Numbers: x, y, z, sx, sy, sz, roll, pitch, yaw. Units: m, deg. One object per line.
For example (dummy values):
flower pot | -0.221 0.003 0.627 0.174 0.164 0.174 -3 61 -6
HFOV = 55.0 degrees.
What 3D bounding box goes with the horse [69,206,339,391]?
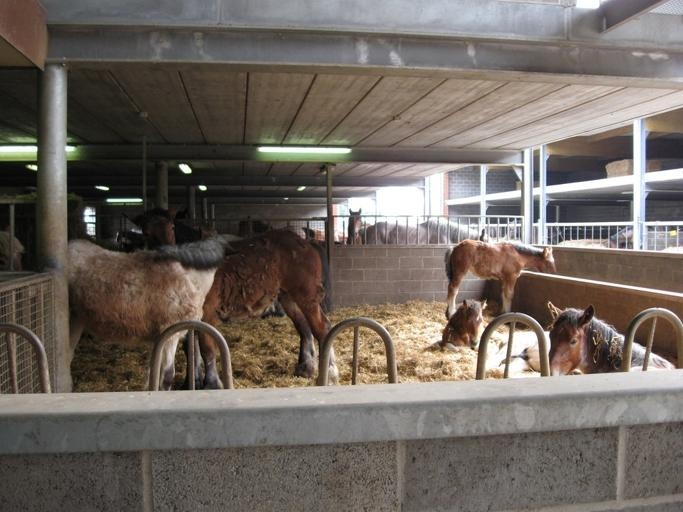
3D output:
horse | -1.224 0.489 6.173 1.101 1.833 2.423 4 7 33
